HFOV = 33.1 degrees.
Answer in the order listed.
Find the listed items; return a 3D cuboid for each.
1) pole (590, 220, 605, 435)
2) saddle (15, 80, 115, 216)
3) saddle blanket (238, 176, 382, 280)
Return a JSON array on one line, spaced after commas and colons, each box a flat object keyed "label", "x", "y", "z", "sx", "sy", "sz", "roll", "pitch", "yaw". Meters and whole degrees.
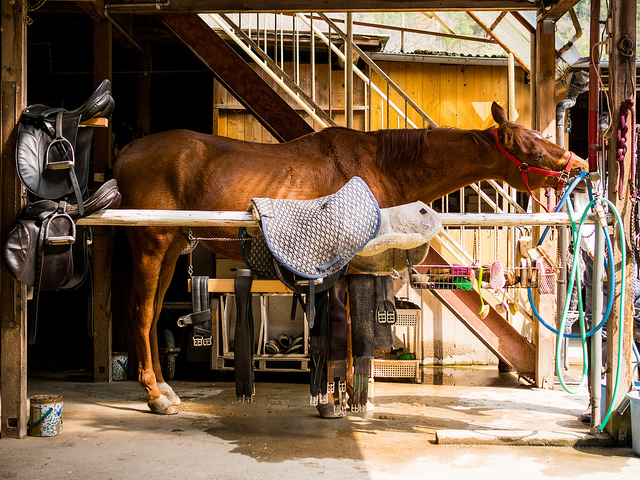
[{"label": "pole", "x": 2.238, "y": 0.700, "z": 8.603, "sx": 0.112, "sy": 1.540, "sz": 0.189, "roll": 1, "pitch": 7, "yaw": 1}, {"label": "saddle", "x": -2.083, "y": -0.802, "z": 8.560, "sx": 0.481, "sy": 1.077, "sz": 0.480, "roll": 6, "pitch": 10, "yaw": 3}, {"label": "saddle blanket", "x": -0.011, "y": -0.094, "z": 8.321, "sx": 0.996, "sy": 0.733, "sz": 0.391, "roll": 1, "pitch": 10, "yaw": 5}]
